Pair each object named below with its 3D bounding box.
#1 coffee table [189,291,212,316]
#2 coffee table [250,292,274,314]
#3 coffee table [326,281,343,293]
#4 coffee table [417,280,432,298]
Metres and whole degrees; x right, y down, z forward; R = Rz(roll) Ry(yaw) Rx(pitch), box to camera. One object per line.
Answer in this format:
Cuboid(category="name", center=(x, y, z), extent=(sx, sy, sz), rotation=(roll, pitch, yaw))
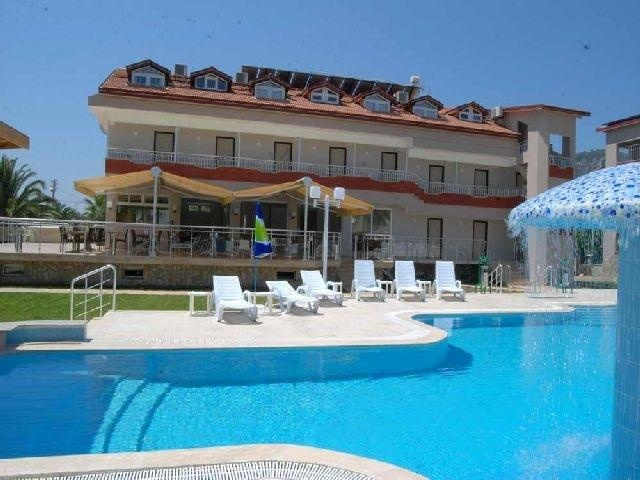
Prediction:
Cuboid(category="coffee table", center=(-3.637, 1.847, 18.968), extent=(0.863, 0.681, 0.846), rotation=(4, -6, -42))
Cuboid(category="coffee table", center=(-1.820, 2.003, 19.920), extent=(0.689, 0.556, 0.715), rotation=(1, -1, -6))
Cuboid(category="coffee table", center=(0.584, 1.731, 23.379), extent=(0.530, 0.673, 0.534), rotation=(1, -3, -27))
Cuboid(category="coffee table", center=(4.080, 1.949, 24.636), extent=(0.573, 0.795, 0.590), rotation=(0, -6, -11))
